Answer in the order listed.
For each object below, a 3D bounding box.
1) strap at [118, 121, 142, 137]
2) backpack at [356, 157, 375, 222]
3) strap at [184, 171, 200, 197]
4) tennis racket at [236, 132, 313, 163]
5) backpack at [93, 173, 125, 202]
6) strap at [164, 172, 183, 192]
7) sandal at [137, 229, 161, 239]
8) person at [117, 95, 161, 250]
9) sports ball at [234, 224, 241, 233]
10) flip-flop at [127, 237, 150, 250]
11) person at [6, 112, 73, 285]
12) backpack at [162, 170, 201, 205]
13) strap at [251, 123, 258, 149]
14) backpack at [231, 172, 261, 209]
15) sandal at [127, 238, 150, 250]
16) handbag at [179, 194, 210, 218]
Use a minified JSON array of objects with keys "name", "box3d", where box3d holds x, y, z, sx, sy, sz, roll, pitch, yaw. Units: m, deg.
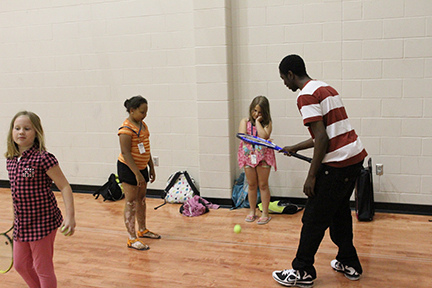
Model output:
[{"name":"strap","box3d":[-1.074,-0.190,4.702,0.236,0.088,0.254,3,28,-11]},{"name":"backpack","box3d":[2.247,0.678,5.490,0.441,0.863,0.257,-11,16,-37]},{"name":"strap","box3d":[-0.424,0.707,6.635,0.330,0.362,0.239,-20,0,-43]},{"name":"tennis racket","box3d":[0.849,0.041,5.339,0.959,0.056,0.229,19,14,38]},{"name":"backpack","box3d":[-1.882,0.779,6.591,0.494,0.393,0.232,-31,-42,19]},{"name":"strap","box3d":[-0.749,0.685,6.617,0.089,0.344,0.207,34,-8,7]},{"name":"sandal","box3d":[-0.940,1.266,5.200,0.328,0.146,0.126,1,1,1]},{"name":"person","box3d":[-1.048,0.359,4.893,0.458,1.966,0.583,2,13,18]},{"name":"sports ball","box3d":[0.302,1.194,5.216,0.076,0.099,0.079,-2,8,0]},{"name":"flip-flop","box3d":[-1.031,1.297,4.863,0.310,0.138,0.119,2,2,21]},{"name":"person","box3d":[-1.569,0.519,3.312,0.690,1.584,0.376,3,13,20]},{"name":"backpack","box3d":[-0.568,0.768,6.485,0.474,0.456,0.214,-6,-20,20]},{"name":"strap","box3d":[0.565,-0.125,5.493,0.094,0.355,0.070,-1,-3,25]},{"name":"backpack","box3d":[0.429,0.780,6.162,0.422,0.615,0.244,5,-1,11]},{"name":"sandal","box3d":[-1.023,1.315,4.893,0.292,0.131,0.113,2,1,19]},{"name":"handbag","box3d":[-0.400,1.034,6.273,0.650,0.245,0.792,3,2,-1]}]
